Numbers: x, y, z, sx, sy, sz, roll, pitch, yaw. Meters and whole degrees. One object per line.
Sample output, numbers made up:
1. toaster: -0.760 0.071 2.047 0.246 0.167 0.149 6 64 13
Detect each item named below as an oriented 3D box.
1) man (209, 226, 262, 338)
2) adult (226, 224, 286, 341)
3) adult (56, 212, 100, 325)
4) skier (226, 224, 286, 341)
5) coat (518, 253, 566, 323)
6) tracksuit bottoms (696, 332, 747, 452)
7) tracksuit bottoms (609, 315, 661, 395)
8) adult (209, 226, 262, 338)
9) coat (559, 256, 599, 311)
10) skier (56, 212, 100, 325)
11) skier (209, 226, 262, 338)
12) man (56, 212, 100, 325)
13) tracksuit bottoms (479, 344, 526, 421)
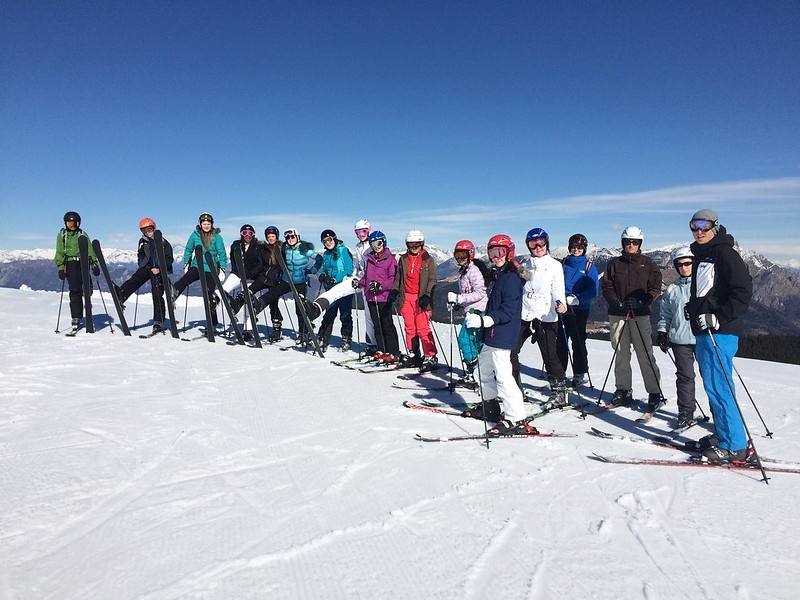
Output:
1. man: -4.274 -0.445 14.997 0.917 2.908 0.721 7 7 18
2. adult: -3.727 -0.379 14.875 0.993 3.008 0.681 1 6 12
3. adult: -8.326 -0.629 14.902 0.480 2.878 0.440 1 6 -16
4. skier: -3.727 -0.379 14.875 0.993 3.008 0.681 1 6 12
5. coat: 2.496 -0.184 10.278 0.410 1.016 1.123 -7 10 -42
6. tracksuit bottoms: 4.468 1.292 8.079 0.386 1.675 0.802 -8 16 -32
7. tracksuit bottoms: 4.322 0.930 10.596 0.765 2.115 0.480 0 31 24
8. adult: -4.274 -0.445 14.997 0.917 2.908 0.721 7 7 18
9. coat: 3.576 -0.345 11.657 0.624 1.099 1.027 6 -7 -35
10. skier: -8.326 -0.629 14.902 0.480 2.878 0.440 1 6 -16
11. skier: -4.274 -0.445 14.997 0.917 2.908 0.721 7 7 18
12. man: -8.326 -0.629 14.902 0.479 2.878 0.440 1 6 -16
13. tracksuit bottoms: 1.471 1.190 9.294 0.375 1.162 0.489 -30 -38 25
